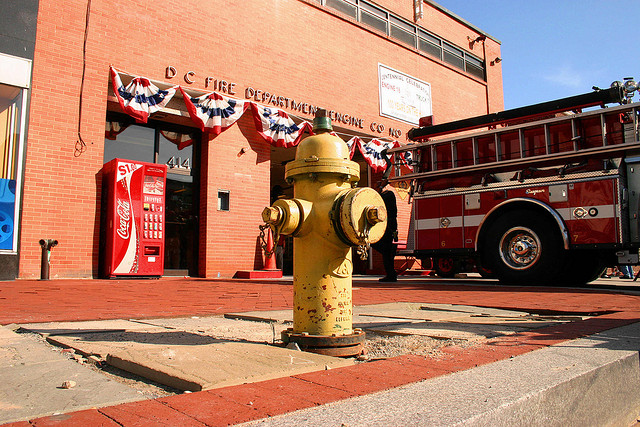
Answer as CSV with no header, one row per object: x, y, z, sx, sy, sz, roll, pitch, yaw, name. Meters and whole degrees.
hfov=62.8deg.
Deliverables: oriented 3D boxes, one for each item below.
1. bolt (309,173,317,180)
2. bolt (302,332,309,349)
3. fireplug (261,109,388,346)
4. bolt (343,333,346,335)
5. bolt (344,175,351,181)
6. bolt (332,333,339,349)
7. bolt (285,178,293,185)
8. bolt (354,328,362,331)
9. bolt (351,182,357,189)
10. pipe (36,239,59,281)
-0.067,-0.349,4.965,0.049,0.092,0.048,-3,-1,24,bolt
-0.144,1.168,4.833,0.063,0.143,0.063,1,-4,8,bolt
0.050,0.085,4.920,1.066,2.264,0.443,1,-4,8,fireplug
0.216,1.112,4.856,0.016,0.018,0.016,4,-2,-10,bolt
0.256,-0.334,4.968,0.045,0.049,0.049,3,0,-8,bolt
0.138,1.162,4.800,0.060,0.132,0.061,2,-4,-7,bolt
-0.304,-0.307,5.129,0.048,0.048,0.052,5,-2,8,bolt
0.365,1.129,5.116,0.045,0.014,0.042,2,-4,-34,bolt
0.329,-0.277,5.131,0.047,0.058,0.048,1,-4,14,bolt
-5.864,0.983,11.253,0.324,0.854,0.365,4,-5,-28,pipe
